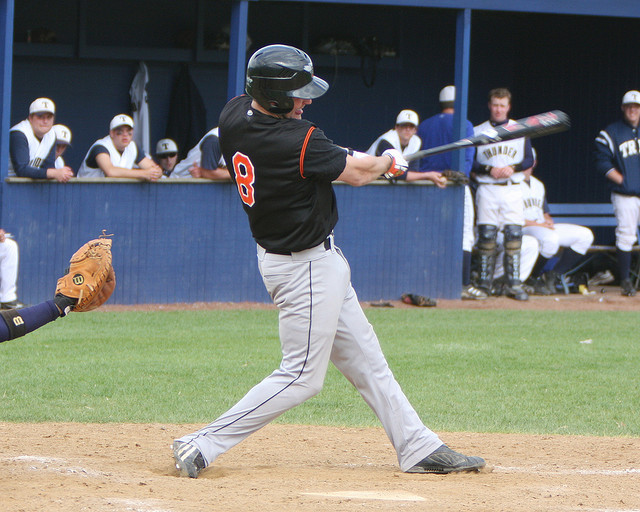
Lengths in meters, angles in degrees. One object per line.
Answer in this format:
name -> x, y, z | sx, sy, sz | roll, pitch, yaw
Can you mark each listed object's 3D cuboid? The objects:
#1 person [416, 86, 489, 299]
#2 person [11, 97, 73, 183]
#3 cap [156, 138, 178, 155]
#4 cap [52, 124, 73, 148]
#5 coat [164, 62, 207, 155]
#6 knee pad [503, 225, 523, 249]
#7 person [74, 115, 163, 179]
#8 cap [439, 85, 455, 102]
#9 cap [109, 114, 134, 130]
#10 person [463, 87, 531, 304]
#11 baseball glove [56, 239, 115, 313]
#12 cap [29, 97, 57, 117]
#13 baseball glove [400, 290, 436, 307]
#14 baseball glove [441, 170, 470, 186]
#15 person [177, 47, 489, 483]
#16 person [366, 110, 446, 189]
person -> 1.546, -0.706, 13.886 | 0.676, 2.158, 0.680 | -21, 20, -32
person -> -2.582, -1.066, 12.503 | 0.516, 0.761, 0.508 | 1, 1, -20
cap -> -1.595, -1.149, 14.226 | 0.195, 0.160, 0.163 | 2, 1, -8
cap -> -2.476, -1.155, 12.988 | 0.144, 0.117, 0.211 | 10, 18, -47
coat -> -1.473, -1.631, 14.959 | 0.425, 1.010, 0.210 | 2, 1, 22
knee pad -> 1.930, -0.203, 13.554 | 0.163, 0.215, 0.219 | 1, -2, -3
person -> -1.885, -1.018, 12.828 | 0.787, 0.614, 0.629 | 2, 1, -8
cap -> 1.310, -1.676, 14.033 | 0.185, 0.144, 0.186 | 1, 3, 3
cap -> -1.876, -1.269, 12.866 | 0.174, 0.133, 0.243 | 0, 6, -16
person -> 1.766, -0.604, 13.620 | 0.656, 2.165, 0.607 | -6, -13, 36
baseball glove -> -1.536, 0.118, 9.271 | 0.201, 0.489, 0.389 | 16, -11, 31
cap -> -2.575, -1.430, 12.644 | 0.233, 0.184, 0.333 | 1, -3, -23
baseball glove -> 0.952, 0.405, 13.210 | 0.220, 0.142, 0.413 | 1, 1, -25
baseball glove -> 1.327, -0.772, 13.293 | 0.212, 0.075, 0.147 | 4, 35, -20
person -> -0.068, 0.049, 8.603 | 1.558, 2.714, 0.371 | 2, 1, 3
person -> 0.824, -1.074, 13.500 | 0.419, 0.778, 0.978 | 8, -10, 4
